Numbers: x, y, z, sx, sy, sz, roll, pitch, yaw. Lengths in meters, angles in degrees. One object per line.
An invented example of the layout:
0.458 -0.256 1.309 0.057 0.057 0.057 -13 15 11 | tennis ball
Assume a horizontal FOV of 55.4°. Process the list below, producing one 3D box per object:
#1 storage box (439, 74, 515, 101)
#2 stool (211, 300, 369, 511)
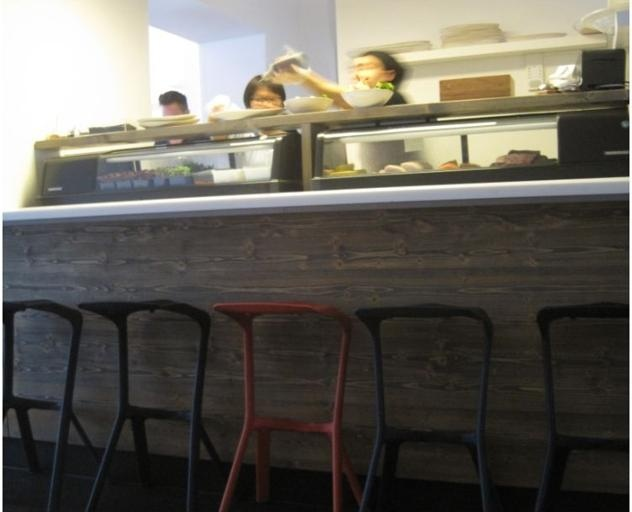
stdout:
0.456 -0.471 1.702 0.121 0.041 0.087 1 5 19 | storage box
-0.079 0.448 1.759 0.429 0.676 0.282 0 7 -1 | stool
